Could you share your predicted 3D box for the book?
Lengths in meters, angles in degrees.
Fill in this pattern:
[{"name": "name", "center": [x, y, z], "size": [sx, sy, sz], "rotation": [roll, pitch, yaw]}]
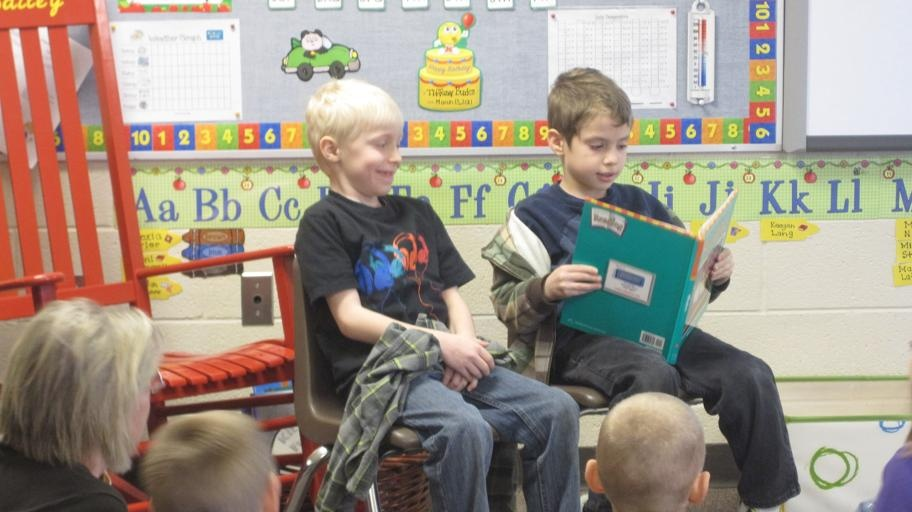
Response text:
[{"name": "book", "center": [0.693, 0.001, 3.104], "size": [0.430, 0.485, 0.518], "rotation": [19, 29, 25]}]
